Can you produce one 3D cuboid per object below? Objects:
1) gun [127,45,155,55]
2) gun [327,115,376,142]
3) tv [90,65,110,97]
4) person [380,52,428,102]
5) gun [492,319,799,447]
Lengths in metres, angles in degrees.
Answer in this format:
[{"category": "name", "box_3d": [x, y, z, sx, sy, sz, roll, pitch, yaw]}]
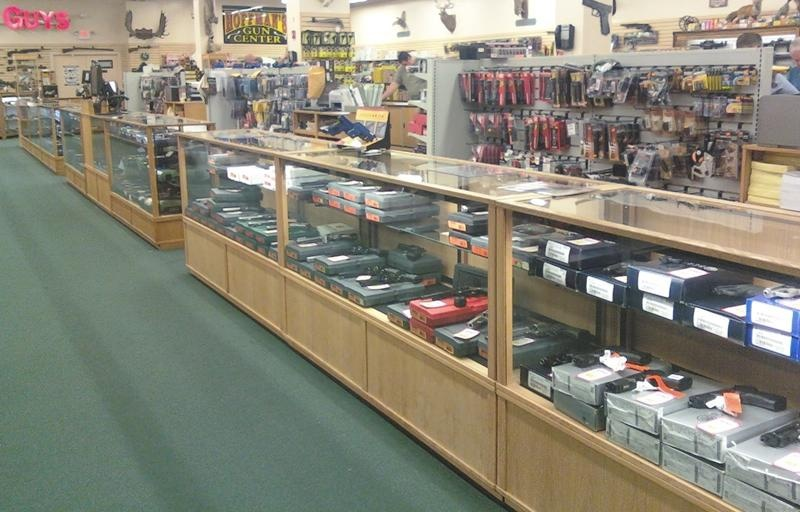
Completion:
[{"category": "gun", "box_3d": [-9.593, -7.636, 20.987, 0.977, 0.262, 0.338, -5, 47, -13]}, {"category": "gun", "box_3d": [-0.421, -1.082, 4.979, 0.366, 0.124, 0.291, 29, 33, 13]}, {"category": "tv", "box_3d": [-6.447, -3.750, 12.031, 0.323, 0.670, 1.033, -10, 20, -25]}, {"category": "person", "box_3d": [0.019, -3.209, 10.035, 0.733, 0.791, 0.934, -4, 18, -8]}, {"category": "gun", "box_3d": [0.951, 0.719, 2.897, 0.865, 0.489, 0.407, 10, 21, 30]}]
